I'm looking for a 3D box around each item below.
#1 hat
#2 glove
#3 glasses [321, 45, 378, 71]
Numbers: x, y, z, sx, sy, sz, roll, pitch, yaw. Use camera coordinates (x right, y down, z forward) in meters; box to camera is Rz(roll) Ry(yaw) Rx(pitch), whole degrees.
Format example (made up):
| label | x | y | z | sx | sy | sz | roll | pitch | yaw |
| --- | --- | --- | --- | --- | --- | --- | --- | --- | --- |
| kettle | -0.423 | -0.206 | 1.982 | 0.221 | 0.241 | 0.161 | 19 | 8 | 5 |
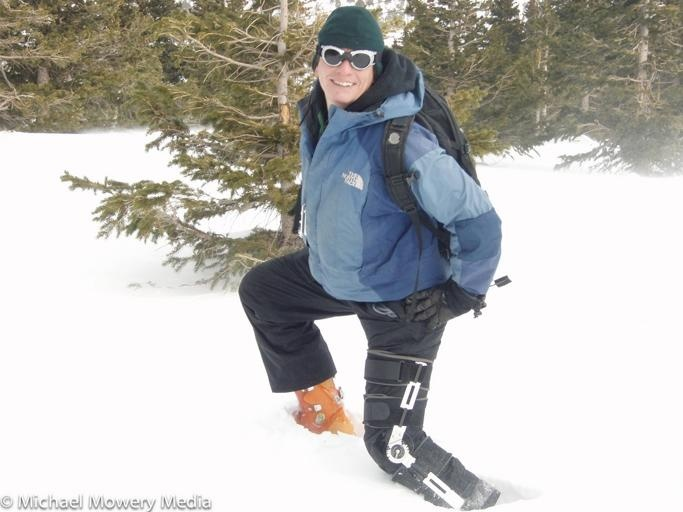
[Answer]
| label | x | y | z | sx | sy | sz | roll | pitch | yaw |
| --- | --- | --- | --- | --- | --- | --- | --- | --- | --- |
| hat | 0.049 | -2.218 | 7.685 | 0.553 | 0.549 | 0.407 | 12 | 64 | -26 |
| glove | 1.048 | 0.480 | 7.557 | 0.736 | 0.172 | 0.427 | -10 | 63 | 0 |
| glasses | 0.054 | -2.021 | 7.561 | 0.541 | 0.199 | 0.157 | 6 | 26 | -3 |
